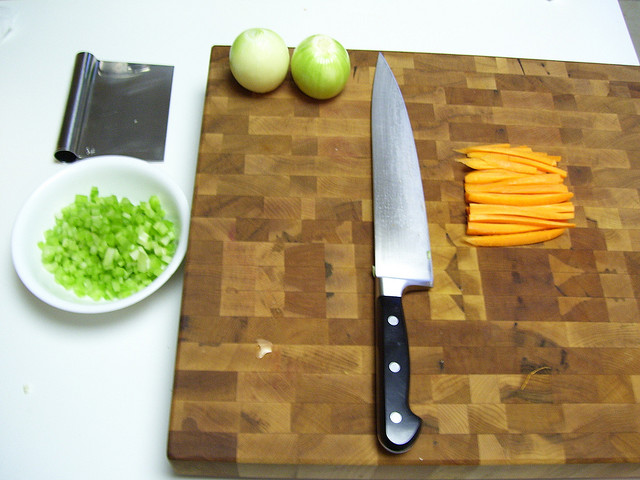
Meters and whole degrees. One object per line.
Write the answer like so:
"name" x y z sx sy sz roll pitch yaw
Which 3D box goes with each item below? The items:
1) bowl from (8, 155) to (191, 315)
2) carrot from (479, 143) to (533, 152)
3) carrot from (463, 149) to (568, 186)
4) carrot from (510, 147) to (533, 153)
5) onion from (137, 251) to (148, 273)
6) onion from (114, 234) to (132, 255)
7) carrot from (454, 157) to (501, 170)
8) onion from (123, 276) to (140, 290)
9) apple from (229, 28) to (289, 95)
"bowl" -0.660 -0.003 1.953 0.515 0.219 0.509 0 66 1
"carrot" 0.606 -0.312 2.054 0.091 0.014 0.021 7 33 -3
"carrot" 0.666 -0.225 2.033 0.387 0.064 0.124 7 74 0
"carrot" 0.667 -0.306 2.057 0.088 0.017 0.021 6 110 6
"onion" -0.540 0.069 1.895 0.028 0.012 0.053 3 77 -7
"onion" -0.597 0.011 1.907 0.053 0.016 0.053 -38 90 1
"carrot" 0.507 -0.253 2.013 0.133 0.025 0.043 12 85 -4
"onion" -0.580 0.132 1.906 0.036 0.015 0.036 3 79 -11
"apple" -0.183 -0.578 2.035 0.196 0.199 0.196 3 94 -2
